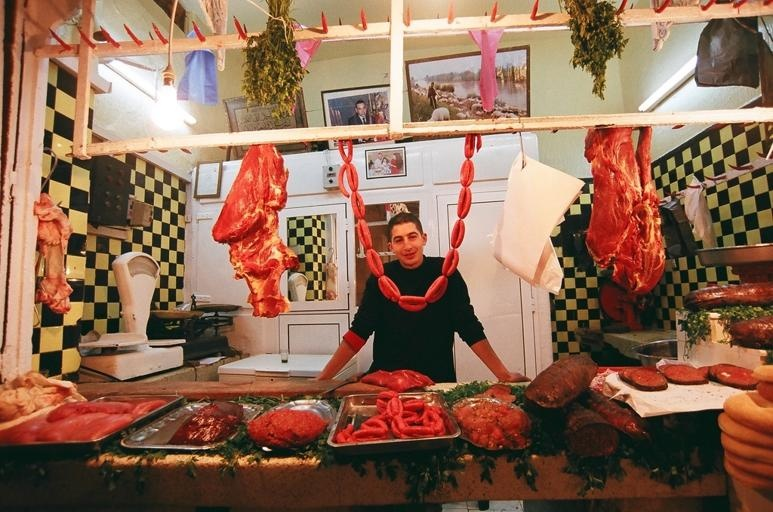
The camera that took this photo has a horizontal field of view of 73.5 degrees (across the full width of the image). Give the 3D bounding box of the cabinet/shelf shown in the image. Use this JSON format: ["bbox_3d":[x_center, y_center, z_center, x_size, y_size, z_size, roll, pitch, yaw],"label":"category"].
[{"bbox_3d":[-0.509,0.036,4.274,2.422,1.979,0.829,-3,-11,6],"label":"cabinet/shelf"}]

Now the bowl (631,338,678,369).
[{"bbox_3d":[1.991,0.713,3.825,0.274,0.112,0.471,-1,4,33],"label":"bowl"}]
